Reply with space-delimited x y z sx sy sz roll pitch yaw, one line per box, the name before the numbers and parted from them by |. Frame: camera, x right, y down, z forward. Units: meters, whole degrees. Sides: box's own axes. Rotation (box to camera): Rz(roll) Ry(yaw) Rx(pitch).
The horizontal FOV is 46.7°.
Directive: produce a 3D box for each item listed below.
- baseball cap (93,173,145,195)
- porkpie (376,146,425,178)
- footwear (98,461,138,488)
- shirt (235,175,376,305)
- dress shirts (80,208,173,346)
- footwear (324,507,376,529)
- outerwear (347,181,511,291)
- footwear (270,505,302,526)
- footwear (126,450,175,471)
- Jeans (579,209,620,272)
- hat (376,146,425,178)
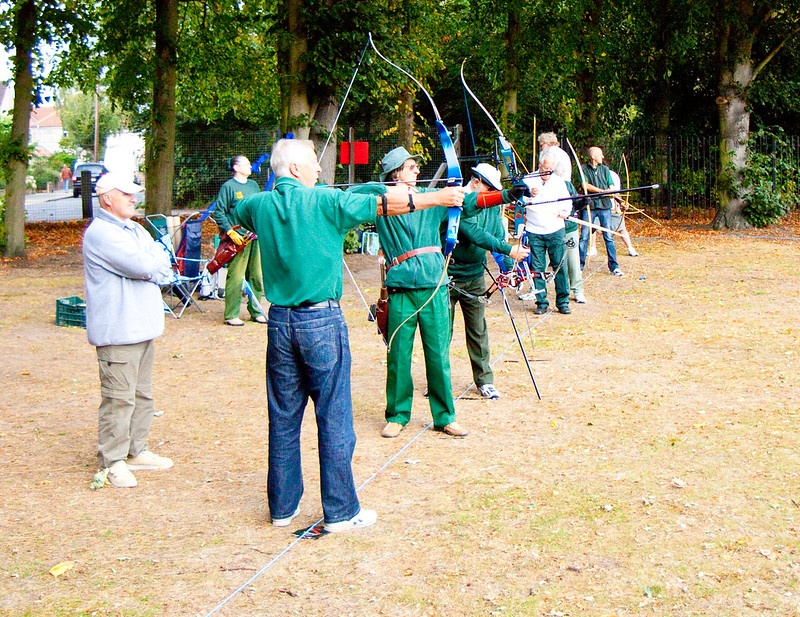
baseball cap | -1.990 -0.896 6.523 0.268 0.094 0.167 -1 13 -5
porkpie | -0.020 -1.123 7.309 0.261 0.100 0.241 -29 1 36
footwear | -2.009 1.173 6.622 0.273 0.112 0.126 6 16 34
shirt | -0.631 -0.456 5.999 1.100 0.793 0.423 1 5 33
dress shirts | -1.949 -0.235 6.641 0.588 0.964 0.338 -1 7 -14
footwear | -0.307 1.371 6.020 0.325 0.138 0.127 -7 8 -30
outerwear | 0.144 -0.600 7.352 1.419 0.830 0.315 -8 40 -10
footwear | -0.755 1.352 6.148 0.078 0.085 0.211 3 13 21
footwear | -1.854 1.123 6.930 0.339 0.138 0.130 0 1 -6
Jeans | 2.930 -1.188 13.797 0.637 1.306 0.242 -3 32 6
hat | -0.021 -1.124 7.308 0.261 0.100 0.241 -29 1 36
